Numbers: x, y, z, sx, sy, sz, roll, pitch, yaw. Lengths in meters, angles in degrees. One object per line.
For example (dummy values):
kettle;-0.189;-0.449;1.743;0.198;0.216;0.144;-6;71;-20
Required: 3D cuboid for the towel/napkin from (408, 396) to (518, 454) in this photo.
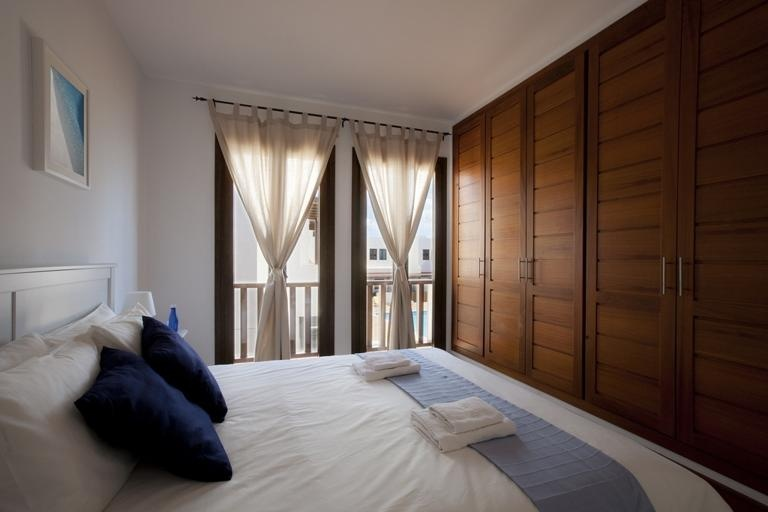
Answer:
towel/napkin;0.473;1.013;2.886;0.372;0.121;0.317;-2;3;-21
